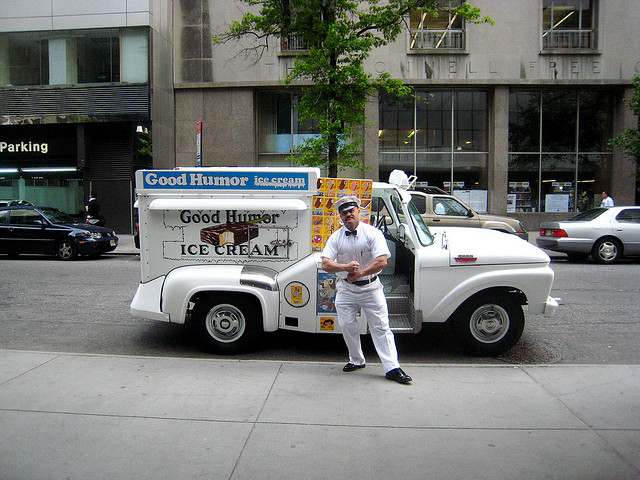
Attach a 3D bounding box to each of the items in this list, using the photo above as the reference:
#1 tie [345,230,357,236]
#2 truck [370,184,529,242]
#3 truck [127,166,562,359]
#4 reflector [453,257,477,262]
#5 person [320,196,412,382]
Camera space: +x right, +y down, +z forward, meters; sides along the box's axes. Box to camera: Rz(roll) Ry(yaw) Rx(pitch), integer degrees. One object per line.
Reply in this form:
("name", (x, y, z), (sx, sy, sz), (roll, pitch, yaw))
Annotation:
("tie", (0.458, -0.119, 9.447), (0.175, 0.087, 0.050), (-1, 10, -1))
("truck", (3.654, -0.775, 16.866), (4.090, 2.006, 2.049), (-3, 2, 5))
("truck", (0.280, 0.217, 11.197), (5.419, 2.591, 3.399), (-1, 3, 0))
("reflector", (2.295, 0.299, 10.048), (0.336, 0.070, 0.038), (-1, 10, -5))
("person", (0.597, 0.699, 9.473), (1.139, 2.609, 0.667), (0, 10, 3))
